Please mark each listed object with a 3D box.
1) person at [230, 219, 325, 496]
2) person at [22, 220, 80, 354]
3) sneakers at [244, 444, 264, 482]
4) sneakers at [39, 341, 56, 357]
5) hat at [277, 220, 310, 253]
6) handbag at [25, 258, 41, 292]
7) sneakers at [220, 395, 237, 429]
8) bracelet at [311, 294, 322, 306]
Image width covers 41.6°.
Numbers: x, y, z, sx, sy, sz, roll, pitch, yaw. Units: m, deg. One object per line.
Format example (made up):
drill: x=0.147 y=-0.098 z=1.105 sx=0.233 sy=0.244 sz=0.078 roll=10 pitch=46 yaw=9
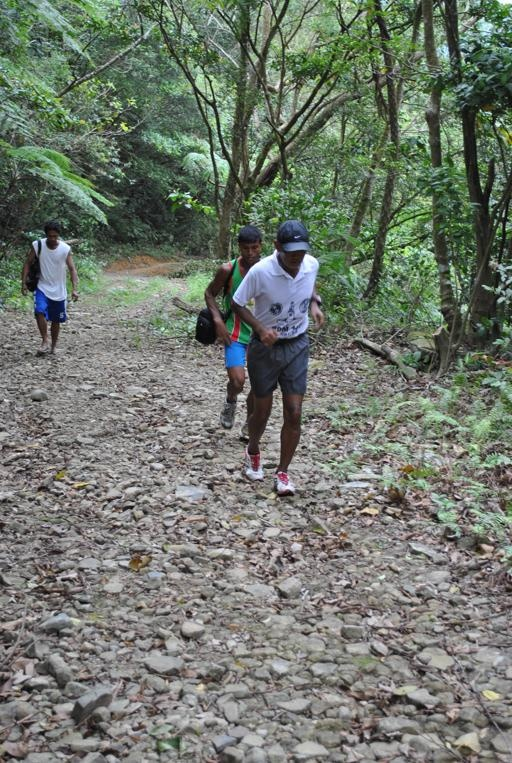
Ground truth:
person: x=0.104 y=-0.210 z=4.356 sx=0.513 sy=1.588 sz=0.644 roll=3 pitch=12 yaw=4
person: x=-2.538 y=-1.120 z=8.334 sx=0.608 sy=1.633 sz=0.690 roll=1 pitch=12 yaw=-9
sneakers: x=-0.005 y=0.599 z=4.989 sx=0.102 sy=0.117 sz=0.265 roll=-1 pitch=43 yaw=-19
sneakers: x=-2.671 y=-0.393 z=8.663 sx=0.123 sy=0.142 sz=0.327 roll=2 pitch=-1 yaw=-5
hat: x=0.217 y=-0.853 z=3.982 sx=0.184 sy=0.189 sz=0.189 roll=3 pitch=11 yaw=2
handbag: x=-2.692 y=-1.279 z=8.325 sx=0.257 sy=0.322 sz=0.352 roll=9 pitch=0 yaw=-21
sneakers: x=-0.231 y=0.280 z=5.865 sx=0.107 sy=0.299 sz=0.122 roll=8 pitch=-16 yaw=-27
bracelet: x=0.428 y=-0.572 z=4.762 sx=0.088 sy=0.092 sz=0.109 roll=0 pitch=8 yaw=0
